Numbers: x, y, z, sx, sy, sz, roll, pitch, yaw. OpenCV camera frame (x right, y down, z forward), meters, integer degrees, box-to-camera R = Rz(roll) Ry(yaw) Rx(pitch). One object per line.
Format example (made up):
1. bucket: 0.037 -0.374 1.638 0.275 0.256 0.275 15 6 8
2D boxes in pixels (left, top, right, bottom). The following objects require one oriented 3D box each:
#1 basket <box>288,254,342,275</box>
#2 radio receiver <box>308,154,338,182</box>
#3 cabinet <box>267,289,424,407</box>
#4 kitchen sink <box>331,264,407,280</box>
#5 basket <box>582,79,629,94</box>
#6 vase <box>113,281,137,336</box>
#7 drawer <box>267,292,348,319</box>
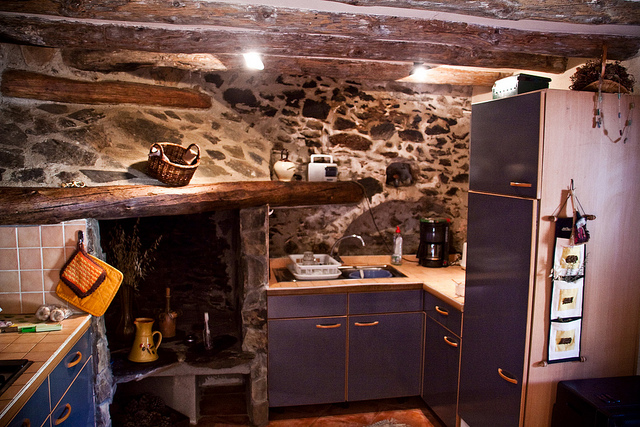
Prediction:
1. basket: -0.053 0.464 4.199 0.479 0.131 0.431 -2 0 -4
2. radio receiver: 0.002 -0.445 4.270 0.328 0.253 0.288 0 11 -6
3. cabinet: 0.126 1.132 4.386 1.979 1.099 1.008 0 1 -7
4. kitchen sink: 0.489 0.557 4.297 0.606 0.096 0.407 -2 0 2
5. basket: 1.814 -0.802 2.861 0.298 0.103 0.101 -2 1 -6
6. vase: -1.773 0.844 4.101 0.218 0.476 0.518 -3 1 -24
7. drawer: -0.135 0.779 3.773 0.404 0.071 0.328 0 -2 -10
